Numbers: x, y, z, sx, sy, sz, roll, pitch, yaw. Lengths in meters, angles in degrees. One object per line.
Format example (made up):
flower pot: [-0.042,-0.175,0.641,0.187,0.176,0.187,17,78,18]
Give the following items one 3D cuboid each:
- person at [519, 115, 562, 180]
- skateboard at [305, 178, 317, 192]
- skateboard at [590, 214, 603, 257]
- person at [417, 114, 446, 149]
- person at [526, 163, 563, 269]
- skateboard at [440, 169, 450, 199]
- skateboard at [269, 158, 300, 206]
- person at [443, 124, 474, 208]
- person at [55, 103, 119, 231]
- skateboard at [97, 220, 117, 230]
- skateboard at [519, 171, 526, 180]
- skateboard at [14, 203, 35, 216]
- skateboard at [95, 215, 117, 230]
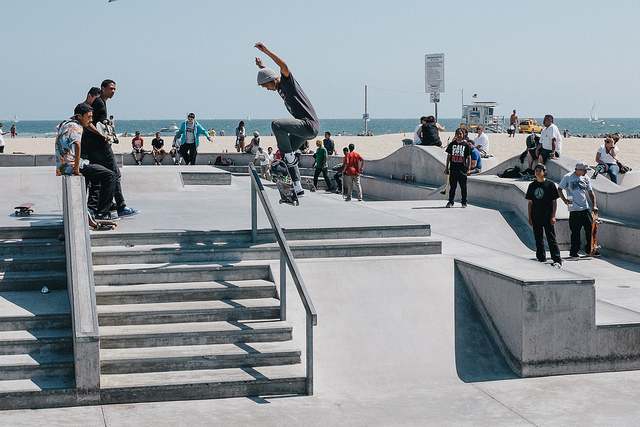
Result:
person: [5.191,-1.588,17.611,1.045,1.497,0.736,-5,9,3]
skateboard: [-0.289,-0.901,23.337,0.195,0.199,0.552,-6,-24,-1]
skateboard: [5.282,0.425,14.345,0.240,0.872,0.129,2,2,-28]
person: [3.487,-2.228,23.151,0.756,1.669,1.065,1,-1,26]
person: [4.055,0.051,13.485,0.606,1.894,0.602,0,4,18]
skateboard: [3.272,-0.775,19.537,0.251,0.261,1.100,-38,17,32]
skateboard: [-0.546,-0.483,11.485,0.463,0.757,0.383,-27,-13,40]
person: [3.131,-1.060,16.907,0.611,1.831,0.502,3,4,24]
person: [-3.562,-0.741,11.308,0.897,1.928,1.089,-3,4,-16]
skateboard: [-3.190,0.163,11.081,0.265,0.143,0.175,-3,5,-18]
skateboard: [4.911,-0.945,18.103,0.152,0.195,0.166,1,-3,-7]
skateboard: [-4.850,-0.073,12.155,0.298,0.165,0.292,-3,5,-23]
skateboard: [-3.227,0.130,11.176,0.298,0.195,0.372,-2,5,-12]
